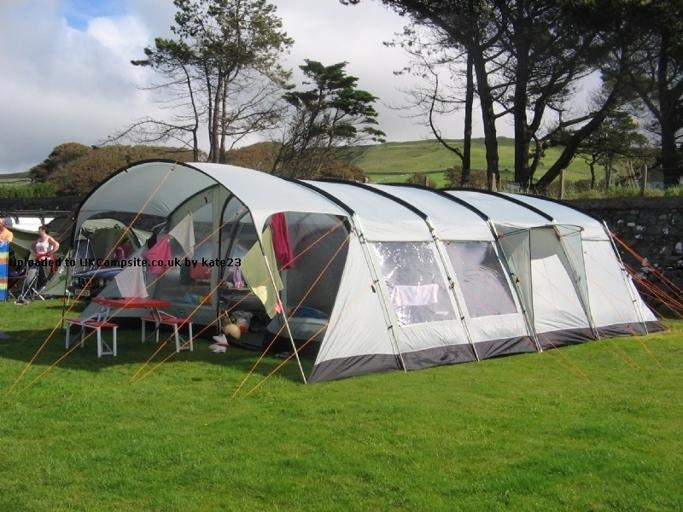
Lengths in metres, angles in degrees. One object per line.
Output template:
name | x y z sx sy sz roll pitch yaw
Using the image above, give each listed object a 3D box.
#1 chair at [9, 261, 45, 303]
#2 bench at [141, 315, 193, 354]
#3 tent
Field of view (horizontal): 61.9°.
chair | -8.849 0.797 15.985 0.897 1.121 0.698 -13 10 -29
bench | -3.279 1.438 10.720 1.141 0.539 0.374 2 1 40
tent | 0.801 -0.029 11.018 10.368 3.432 5.083 -1 6 -13
